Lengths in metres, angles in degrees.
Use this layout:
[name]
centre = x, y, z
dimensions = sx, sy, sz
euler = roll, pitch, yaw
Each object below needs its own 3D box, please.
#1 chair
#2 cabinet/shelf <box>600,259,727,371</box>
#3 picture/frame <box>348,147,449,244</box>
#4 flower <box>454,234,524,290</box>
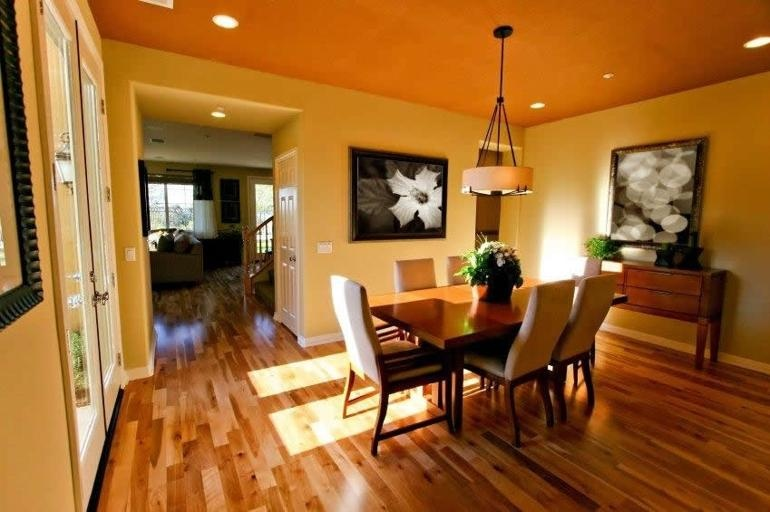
[chair]
centre = 0.453, 0.883, 4.702
dimensions = 1.792, 1.410, 0.845
euler = -1, 13, -7
[cabinet/shelf]
centre = 3.082, 0.626, 5.860
dimensions = 0.406, 0.911, 1.062
euler = -2, 6, -27
[picture/frame]
centre = 0.108, -0.754, 6.491
dimensions = 1.161, 0.841, 0.050
euler = -5, 10, -33
[flower]
centre = 1.058, 0.095, 5.176
dimensions = 0.535, 0.377, 0.524
euler = 5, -12, -6
